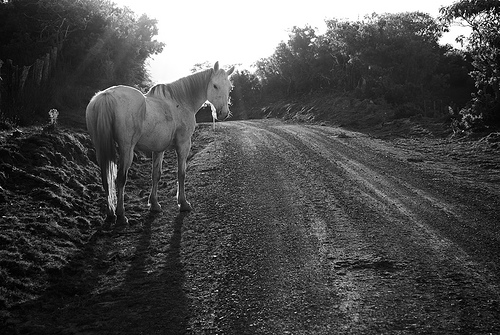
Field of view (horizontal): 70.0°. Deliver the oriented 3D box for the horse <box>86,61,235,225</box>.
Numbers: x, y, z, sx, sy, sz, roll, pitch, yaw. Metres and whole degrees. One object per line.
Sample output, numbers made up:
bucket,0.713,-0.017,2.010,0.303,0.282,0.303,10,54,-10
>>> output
horse,-2.172,-0.680,8.581,0.933,3.874,3.103,9,10,44
